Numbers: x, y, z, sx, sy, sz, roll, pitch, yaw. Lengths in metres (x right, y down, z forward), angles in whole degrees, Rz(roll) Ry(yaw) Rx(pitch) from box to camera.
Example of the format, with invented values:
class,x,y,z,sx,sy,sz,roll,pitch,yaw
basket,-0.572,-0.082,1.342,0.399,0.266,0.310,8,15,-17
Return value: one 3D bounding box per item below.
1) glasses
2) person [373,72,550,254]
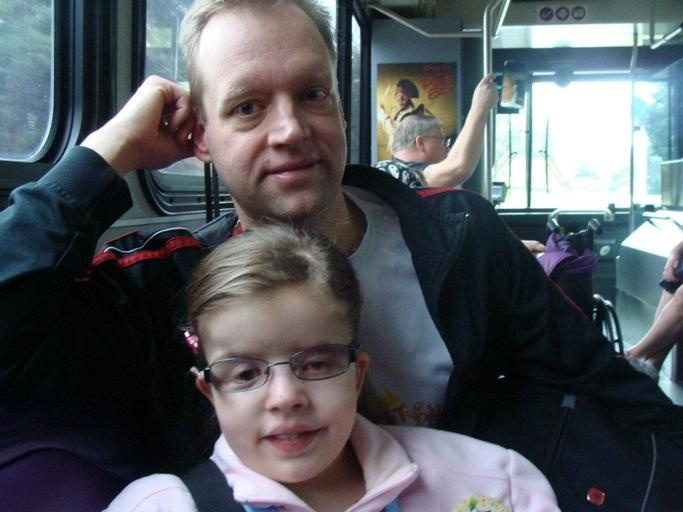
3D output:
class,x,y,z,sx,sy,sz,roll,pitch,yaw
glasses,-0.145,0.270,1.378,0.334,0.108,0.072,0,10,-5
person,0.572,-0.626,4.237,0.889,1.604,1.111,-2,31,-5
